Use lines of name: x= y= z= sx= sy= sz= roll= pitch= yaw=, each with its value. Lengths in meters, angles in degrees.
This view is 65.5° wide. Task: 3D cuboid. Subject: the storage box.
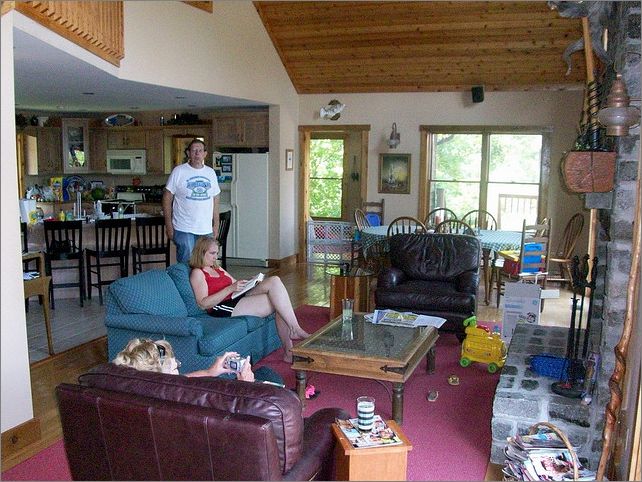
storage box: x=2.052 y=0.707 z=4.938 sx=0.584 sy=0.744 sz=0.422 roll=2 pitch=2 yaw=30

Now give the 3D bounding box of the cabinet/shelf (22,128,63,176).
cabinet/shelf: x=-5.183 y=-1.679 z=9.271 sx=0.656 sy=0.860 sz=0.235 roll=-4 pitch=8 yaw=-27

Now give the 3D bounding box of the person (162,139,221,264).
person: x=-1.416 y=-0.423 z=5.416 sx=0.591 sy=1.285 sz=0.345 roll=-3 pitch=8 yaw=-15

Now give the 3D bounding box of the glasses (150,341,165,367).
glasses: x=-0.817 y=0.560 z=2.508 sx=0.071 sy=0.089 sz=0.037 roll=2 pitch=10 yaw=27

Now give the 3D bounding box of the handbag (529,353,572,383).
handbag: x=1.627 y=0.862 z=3.480 sx=0.216 sy=0.172 sz=0.336 roll=-2 pitch=6 yaw=-11

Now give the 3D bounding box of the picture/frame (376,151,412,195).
picture/frame: x=1.280 y=-1.183 z=8.601 sx=0.770 sy=0.848 sz=0.062 roll=2 pitch=5 yaw=16

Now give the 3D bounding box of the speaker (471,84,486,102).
speaker: x=2.519 y=-2.338 z=7.999 sx=0.218 sy=0.256 sz=0.182 roll=1 pitch=7 yaw=16

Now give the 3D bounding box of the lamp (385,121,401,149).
lamp: x=1.233 y=-1.793 z=8.496 sx=0.234 sy=0.441 sz=0.152 roll=0 pitch=8 yaw=8

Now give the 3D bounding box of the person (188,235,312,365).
person: x=-0.591 y=0.526 z=4.472 sx=1.204 sy=1.041 sz=0.482 roll=6 pitch=15 yaw=7

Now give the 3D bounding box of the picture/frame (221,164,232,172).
picture/frame: x=-1.619 y=-1.247 z=8.534 sx=0.136 sy=0.091 sz=0.014 roll=1 pitch=4 yaw=2

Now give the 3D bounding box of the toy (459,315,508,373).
toy: x=1.532 y=0.942 z=4.518 sx=0.469 sy=0.447 sz=0.323 roll=1 pitch=4 yaw=31

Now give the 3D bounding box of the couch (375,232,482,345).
couch: x=1.212 y=0.420 z=5.543 sx=1.232 sy=1.105 sz=1.153 roll=2 pitch=4 yaw=16

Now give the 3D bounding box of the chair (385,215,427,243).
chair: x=1.263 y=-0.217 z=7.472 sx=0.597 sy=0.782 sz=0.535 roll=0 pitch=0 yaw=8

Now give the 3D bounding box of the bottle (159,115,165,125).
bottle: x=-2.907 y=-2.185 z=9.111 sx=0.089 sy=0.212 sz=0.352 roll=-3 pitch=6 yaw=-16

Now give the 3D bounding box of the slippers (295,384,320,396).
slippers: x=-0.095 y=1.143 z=3.823 sx=0.172 sy=0.049 sz=0.168 roll=1 pitch=-3 yaw=3

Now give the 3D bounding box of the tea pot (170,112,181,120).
tea pot: x=-2.652 y=-2.233 z=9.024 sx=0.153 sy=0.165 sz=0.361 roll=-3 pitch=6 yaw=-16

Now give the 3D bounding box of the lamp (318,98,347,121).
lamp: x=0.178 y=-2.266 z=8.503 sx=0.464 sy=0.380 sz=0.777 roll=-1 pitch=6 yaw=0

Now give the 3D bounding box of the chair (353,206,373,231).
chair: x=0.713 y=-0.348 z=7.910 sx=0.326 sy=0.449 sz=0.351 roll=-7 pitch=9 yaw=-38
